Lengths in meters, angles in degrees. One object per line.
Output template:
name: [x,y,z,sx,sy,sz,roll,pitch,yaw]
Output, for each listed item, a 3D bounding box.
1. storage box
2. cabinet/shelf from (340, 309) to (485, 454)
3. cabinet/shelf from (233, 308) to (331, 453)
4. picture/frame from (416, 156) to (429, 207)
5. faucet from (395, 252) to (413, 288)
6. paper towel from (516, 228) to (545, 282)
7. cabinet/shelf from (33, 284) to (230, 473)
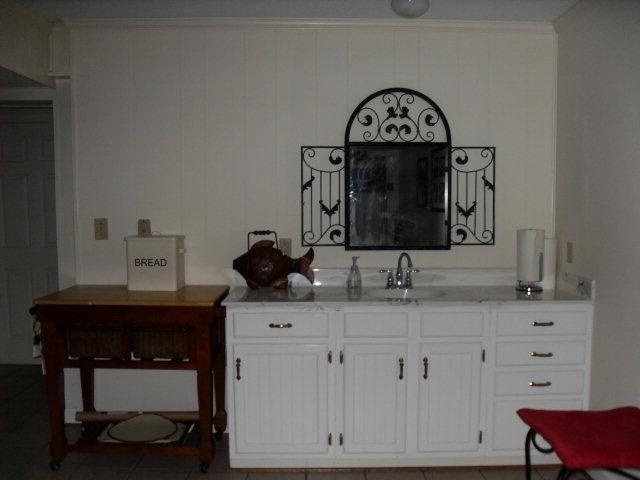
storage box: [-1.193,0.144,4.820,0.431,0.421,0.265,2,12,0]
cabinet/shelf: [0.584,0.899,4.443,0.872,0.917,0.355,0,-1,0]
cabinet/shelf: [-0.259,0.930,4.751,0.761,1.100,0.750,0,3,6]
picture/frame: [0.753,-0.431,4.914,0.084,0.373,0.024,0,3,2]
faucet: [0.607,0.220,4.843,0.136,0.265,0.288,0,3,7]
paper towel: [1.486,0.117,4.747,0.189,0.378,0.136,1,3,18]
cabinet/shelf: [-1.282,0.933,4.790,1.176,1.155,0.784,0,5,-4]
